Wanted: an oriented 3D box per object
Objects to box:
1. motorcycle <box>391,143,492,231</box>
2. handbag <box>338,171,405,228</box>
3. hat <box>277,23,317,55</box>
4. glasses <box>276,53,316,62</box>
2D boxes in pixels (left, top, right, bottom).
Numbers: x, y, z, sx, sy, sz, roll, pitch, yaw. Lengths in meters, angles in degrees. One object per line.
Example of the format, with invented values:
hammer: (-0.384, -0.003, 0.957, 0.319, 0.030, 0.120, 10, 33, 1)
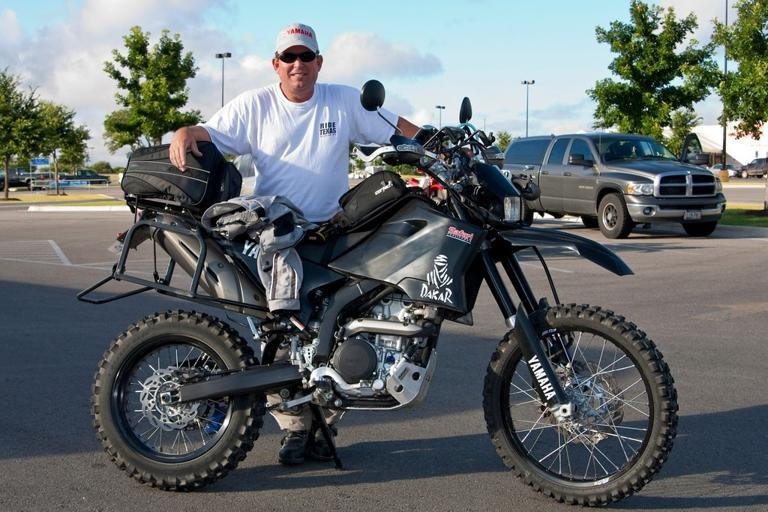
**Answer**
motorcycle: (0.398, -0.554, 5.078, 0.597, 0.377, 0.386, 15, 12, 31)
handbag: (-0.115, -0.401, 4.887, 0.490, 0.303, 0.181, -29, -41, 11)
hat: (-0.662, -1.636, 5.297, 0.307, 0.222, 0.221, -2, 8, -9)
glasses: (-0.666, -1.498, 5.346, 0.271, 0.095, 0.047, -2, 8, -7)
